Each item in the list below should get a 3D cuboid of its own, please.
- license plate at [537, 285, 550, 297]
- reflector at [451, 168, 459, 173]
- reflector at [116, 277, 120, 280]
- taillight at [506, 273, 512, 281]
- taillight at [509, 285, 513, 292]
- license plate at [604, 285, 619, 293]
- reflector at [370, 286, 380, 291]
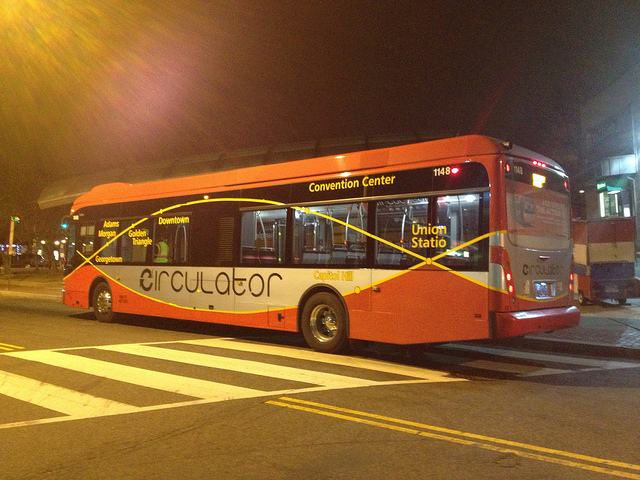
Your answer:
[{"bbox_3d":[4.259,0.966,9.778,0.228,0.238,0.054,-3,4,-38],"label":"license plate"},{"bbox_3d":[2.537,-1.287,9.621,0.081,0.093,0.020,2,6,33],"label":"reflector"},{"bbox_3d":[-6.044,1.153,15.356,0.079,0.093,0.084,6,3,34],"label":"reflector"},{"bbox_3d":[3.380,0.665,9.170,0.146,0.134,0.026,0,0,-38],"label":"taillight"},{"bbox_3d":[3.418,0.872,9.184,0.089,0.124,0.016,0,0,-41],"label":"taillight"},{"bbox_3d":[10.106,1.714,17.800,0.500,0.239,0.034,0,0,-2],"label":"license plate"},{"bbox_3d":[1.117,0.987,10.354,0.051,0.074,0.228,5,-2,-25],"label":"reflector"}]
